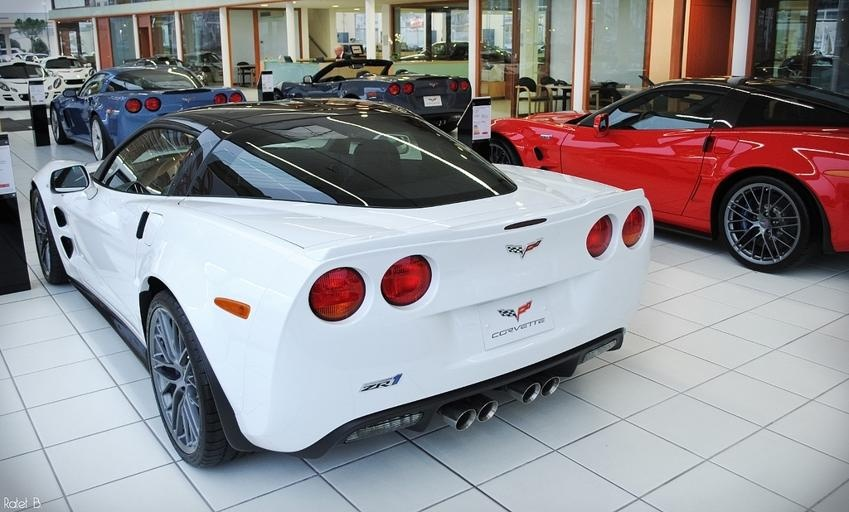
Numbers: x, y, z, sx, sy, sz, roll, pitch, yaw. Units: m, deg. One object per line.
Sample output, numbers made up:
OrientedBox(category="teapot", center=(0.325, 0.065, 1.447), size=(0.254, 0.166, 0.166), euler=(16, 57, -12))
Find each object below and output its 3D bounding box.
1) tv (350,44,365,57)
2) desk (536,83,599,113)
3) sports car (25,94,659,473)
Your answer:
OrientedBox(category="tv", center=(-2.816, -8.720, 19.910), size=(0.711, 0.326, 0.901), euler=(-8, 30, -26))
OrientedBox(category="desk", center=(3.917, -4.259, 12.541), size=(1.081, 0.637, 1.067), euler=(-18, 28, -36))
OrientedBox(category="sports car", center=(-1.593, -0.373, 4.973), size=(6.200, 1.679, 3.498), euler=(18, 21, 40))
